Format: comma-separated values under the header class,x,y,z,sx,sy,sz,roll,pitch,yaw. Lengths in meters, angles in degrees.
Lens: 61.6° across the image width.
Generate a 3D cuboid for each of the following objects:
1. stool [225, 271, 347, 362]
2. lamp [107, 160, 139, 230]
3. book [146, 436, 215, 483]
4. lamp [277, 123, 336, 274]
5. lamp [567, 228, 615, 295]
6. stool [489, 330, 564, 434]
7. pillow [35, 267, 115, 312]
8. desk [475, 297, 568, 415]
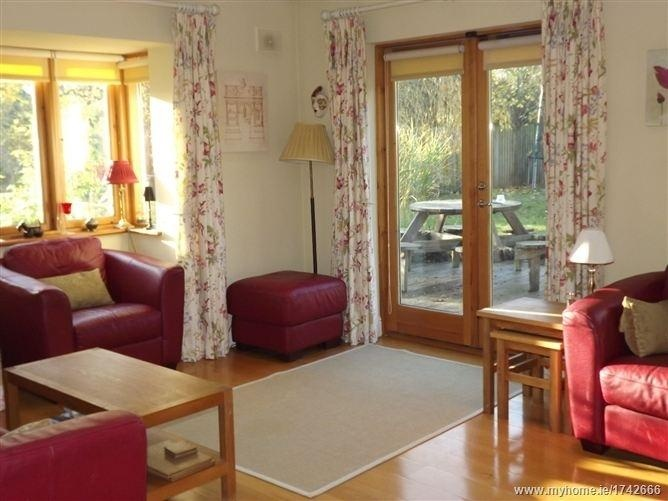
class,x,y,z,sx,sy,sz,roll,pitch,yaw
stool,-0.435,0.511,5.028,0.809,0.584,0.804,-7,8,-43
lamp,-2.032,-0.536,5.437,0.256,0.670,0.501,-6,12,-20
book,-0.750,1.013,2.719,0.195,0.046,0.183,7,9,42
lamp,-0.239,-0.488,5.425,0.497,1.465,0.497,-2,12,-1
lamp,1.676,0.090,3.657,0.271,0.437,0.258,1,16,27
stool,1.353,0.817,3.835,0.566,0.633,0.645,2,5,32
pillow,-2.115,0.298,4.498,0.130,0.263,0.455,-24,-12,38
desk,1.222,0.634,3.847,0.702,0.686,0.691,-2,4,-43
